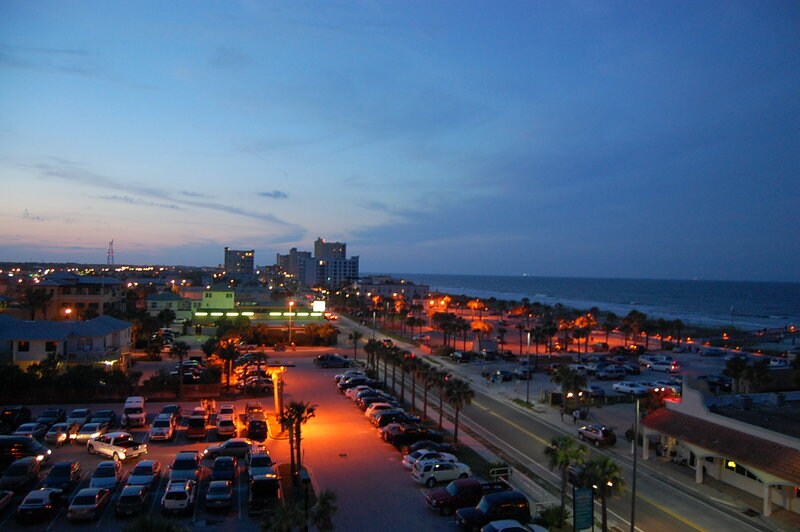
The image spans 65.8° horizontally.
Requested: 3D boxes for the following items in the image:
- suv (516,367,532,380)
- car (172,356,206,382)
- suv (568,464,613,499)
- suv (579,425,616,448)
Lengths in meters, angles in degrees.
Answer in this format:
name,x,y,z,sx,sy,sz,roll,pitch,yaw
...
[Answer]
name,x,y,z,sx,sy,sz,roll,pitch,yaw
suv,17.083,14.719,85.603,1.985,1.085,3.479,0,0,-5
car,-26.463,12.967,78.290,3.480,1.496,5.567,1,7,-8
suv,13.782,15.884,46.085,1.895,0.685,2.634,3,5,-37
suv,19.537,16.591,61.277,1.728,1.384,2.915,6,-1,-28
